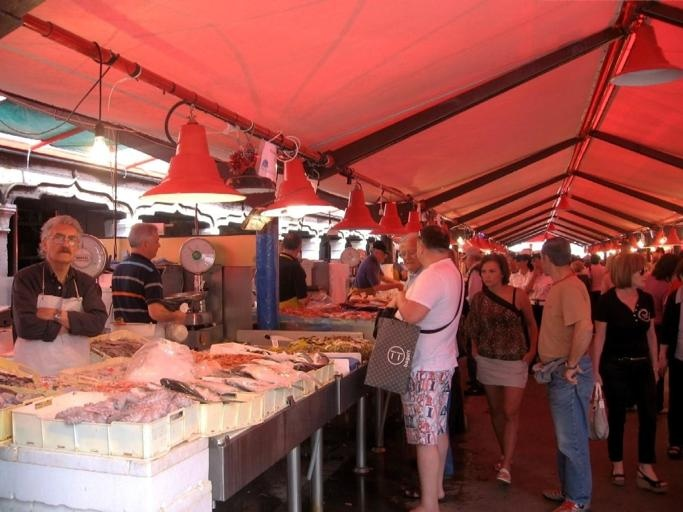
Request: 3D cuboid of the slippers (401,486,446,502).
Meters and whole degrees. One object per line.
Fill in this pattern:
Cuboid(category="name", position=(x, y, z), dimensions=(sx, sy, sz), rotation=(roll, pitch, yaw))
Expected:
Cuboid(category="slippers", position=(0.675, 1.944, 4.668), dimensions=(0.371, 0.140, 0.125), rotation=(4, -10, 13))

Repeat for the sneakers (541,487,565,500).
Cuboid(category="sneakers", position=(1.695, 1.917, 4.589), dimensions=(0.198, 0.072, 0.071), rotation=(1, 3, 25))

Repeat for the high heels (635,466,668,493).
Cuboid(category="high heels", position=(2.533, 1.853, 4.696), dimensions=(0.121, 0.159, 0.243), rotation=(7, -7, -42))

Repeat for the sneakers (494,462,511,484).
Cuboid(category="sneakers", position=(1.388, 1.869, 4.882), dimensions=(0.116, 0.112, 0.305), rotation=(-4, -19, 14))

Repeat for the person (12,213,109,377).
Cuboid(category="person", position=(-1.973, 0.277, 4.016), dimensions=(0.613, 1.107, 0.314), rotation=(6, -6, -27))

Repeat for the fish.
Cuboid(category="fish", position=(-0.588, 0.736, 3.381), dimensions=(0.498, 0.069, 0.502), rotation=(-1, 0, 37))

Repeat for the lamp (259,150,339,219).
Cuboid(category="lamp", position=(-0.349, -0.611, 4.725), dimensions=(0.575, 0.517, 0.593), rotation=(4, -5, -8))

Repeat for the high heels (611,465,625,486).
Cuboid(category="high heels", position=(2.329, 1.849, 4.777), dimensions=(0.073, 0.084, 0.228), rotation=(-3, -7, 19))

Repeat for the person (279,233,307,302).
Cuboid(category="person", position=(-0.545, 0.148, 6.534), dimensions=(0.337, 0.817, 0.318), rotation=(4, -5, -4))

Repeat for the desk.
Cuboid(category="desk", position=(-0.271, 1.186, 4.115), dimensions=(0.746, 0.615, 1.618), rotation=(0, 0, 11))

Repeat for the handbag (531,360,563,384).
Cuboid(category="handbag", position=(1.589, 0.890, 4.387), dimensions=(0.080, 0.204, 0.171), rotation=(19, 1, -37))

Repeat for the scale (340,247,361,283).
Cuboid(category="scale", position=(0.201, 0.178, 11.389), dimensions=(0.530, 0.615, 0.236), rotation=(-5, 14, -10))

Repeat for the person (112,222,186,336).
Cuboid(category="person", position=(-1.720, 0.164, 5.092), dimensions=(0.655, 0.899, 0.319), rotation=(3, -5, -4))

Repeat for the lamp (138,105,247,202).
Cuboid(category="lamp", position=(-0.919, -0.601, 3.594), dimensions=(0.605, 0.572, 0.587), rotation=(-1, 0, 5))

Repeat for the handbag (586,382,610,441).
Cuboid(category="handbag", position=(1.983, 1.188, 4.381), dimensions=(0.126, 0.433, 0.304), rotation=(1, -6, 27))

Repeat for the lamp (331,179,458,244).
Cuboid(category="lamp", position=(0.385, -0.466, 6.092), dimensions=(0.617, 0.502, 1.264), rotation=(4, 5, 39))
